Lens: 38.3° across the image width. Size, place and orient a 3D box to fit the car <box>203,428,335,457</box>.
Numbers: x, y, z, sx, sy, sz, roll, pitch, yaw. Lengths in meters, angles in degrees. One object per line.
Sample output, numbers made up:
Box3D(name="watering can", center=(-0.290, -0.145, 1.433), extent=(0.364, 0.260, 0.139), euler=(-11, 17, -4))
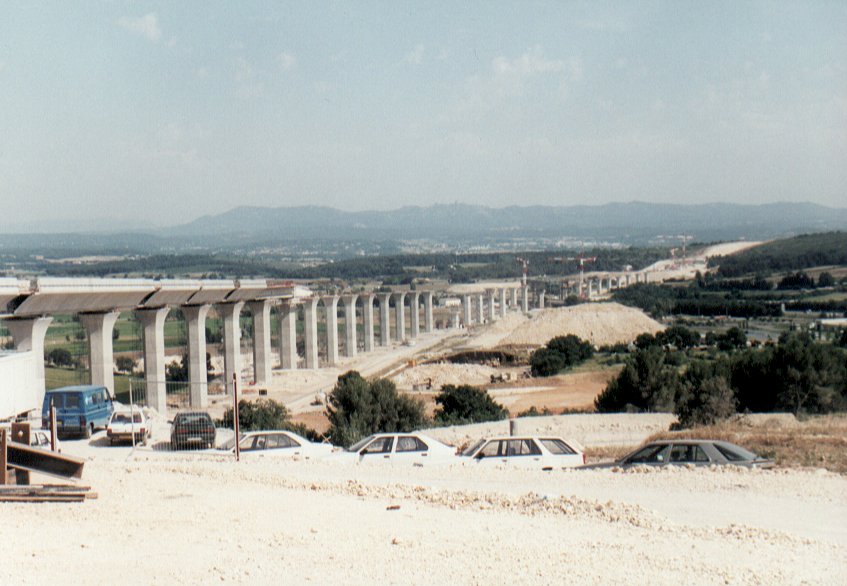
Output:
Box3D(name="car", center=(-6.853, 7.064, 57.454), extent=(4.456, 1.686, 2.143), euler=(4, -6, 0))

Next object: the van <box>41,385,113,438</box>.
Box3D(name="van", center=(-17.422, 5.895, 62.163), extent=(2.246, 2.567, 4.277), euler=(-1, 2, 9))
